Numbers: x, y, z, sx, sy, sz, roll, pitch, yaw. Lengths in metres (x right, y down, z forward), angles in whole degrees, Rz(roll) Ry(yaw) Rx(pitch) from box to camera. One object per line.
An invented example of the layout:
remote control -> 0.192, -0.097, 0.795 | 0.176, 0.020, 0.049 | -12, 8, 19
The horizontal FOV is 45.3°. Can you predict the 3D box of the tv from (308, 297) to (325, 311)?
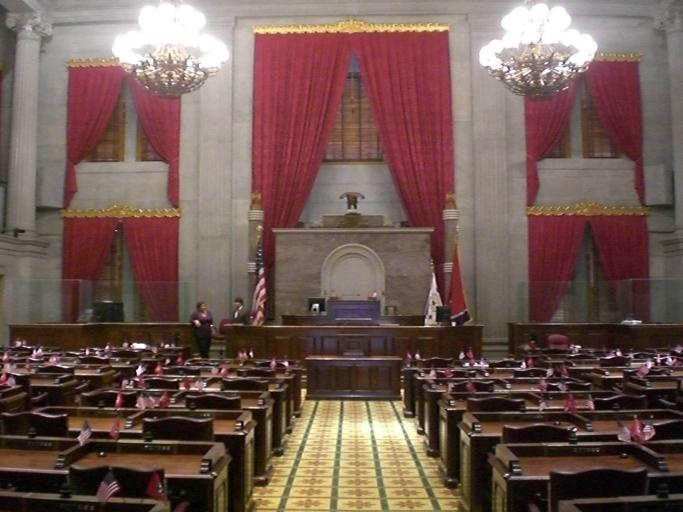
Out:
tv -> -0.576, 1.127, 18.784 | 0.403, 0.256, 0.333 | 0, -3, 1
